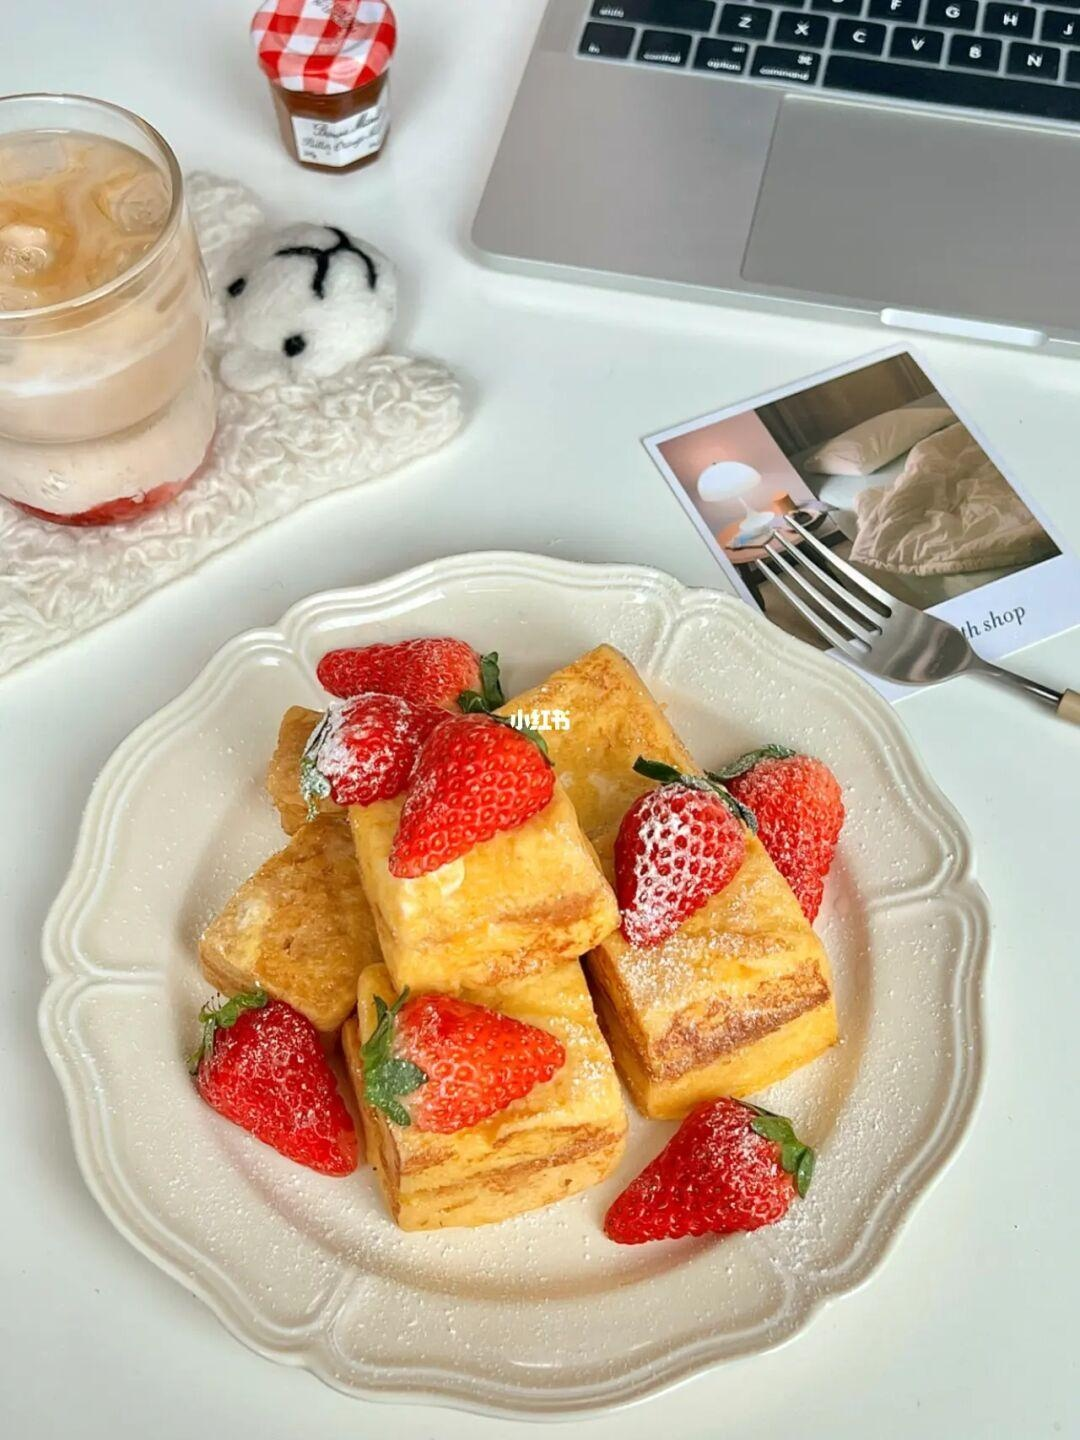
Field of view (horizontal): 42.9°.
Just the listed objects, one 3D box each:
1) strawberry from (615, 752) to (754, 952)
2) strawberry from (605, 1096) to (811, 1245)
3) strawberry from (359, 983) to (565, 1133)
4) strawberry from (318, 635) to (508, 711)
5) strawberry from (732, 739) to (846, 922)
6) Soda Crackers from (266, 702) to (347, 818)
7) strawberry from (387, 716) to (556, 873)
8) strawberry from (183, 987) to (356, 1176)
[{"bbox_3d":[0.103,0.101,0.984,0.093,0.085,0.105,35,89,27],"label":"strawberry"},{"bbox_3d":[0.116,0.311,0.932,0.136,0.074,0.078,-25,73,1],"label":"strawberry"},{"bbox_3d":[-0.054,0.230,0.918,0.153,0.061,0.089,8,62,-26],"label":"strawberry"},{"bbox_3d":[-0.098,-0.033,1.073,0.118,0.066,0.050,2,92,-9],"label":"strawberry"},{"bbox_3d":[0.193,0.078,1.032,0.097,0.055,0.115,-1,94,27],"label":"strawberry"},{"bbox_3d":[-0.177,0.028,1.071,0.023,0.077,0.076,-4,61,22],"label":"Soda Crackers"},{"bbox_3d":[-0.041,0.054,0.919,0.092,0.072,0.106,14,56,-3],"label":"strawberry"},{"bbox_3d":[-0.185,0.261,0.970,0.098,0.056,0.152,-24,40,-24],"label":"strawberry"}]
